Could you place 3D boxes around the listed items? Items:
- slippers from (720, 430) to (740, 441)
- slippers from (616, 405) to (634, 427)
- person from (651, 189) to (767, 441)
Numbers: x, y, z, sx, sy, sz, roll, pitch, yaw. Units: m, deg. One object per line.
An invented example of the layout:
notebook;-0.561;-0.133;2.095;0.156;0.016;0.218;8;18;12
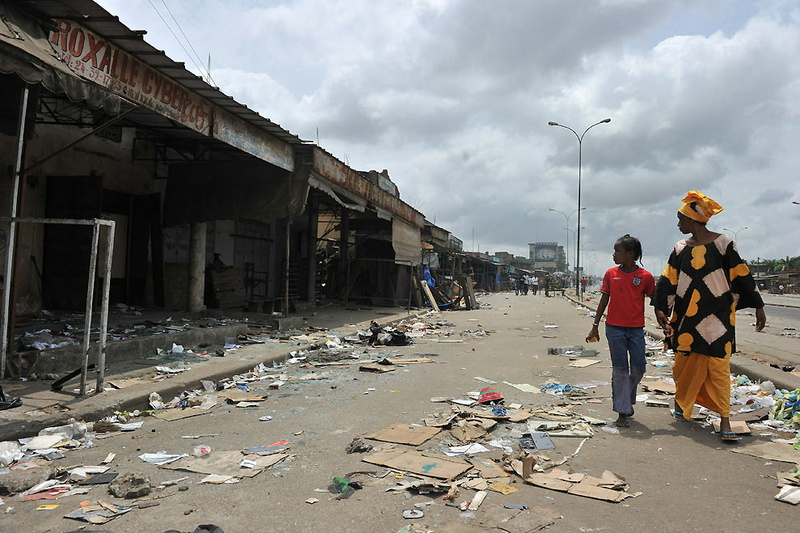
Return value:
slippers;3.940;2.024;6.761;0.104;0.058;0.224;-3;-10;9
slippers;2.974;2.016;7.431;0.141;0.180;0.438;-5;-17;13
person;3.852;0.531;7.141;1.139;2.943;0.740;5;8;37
